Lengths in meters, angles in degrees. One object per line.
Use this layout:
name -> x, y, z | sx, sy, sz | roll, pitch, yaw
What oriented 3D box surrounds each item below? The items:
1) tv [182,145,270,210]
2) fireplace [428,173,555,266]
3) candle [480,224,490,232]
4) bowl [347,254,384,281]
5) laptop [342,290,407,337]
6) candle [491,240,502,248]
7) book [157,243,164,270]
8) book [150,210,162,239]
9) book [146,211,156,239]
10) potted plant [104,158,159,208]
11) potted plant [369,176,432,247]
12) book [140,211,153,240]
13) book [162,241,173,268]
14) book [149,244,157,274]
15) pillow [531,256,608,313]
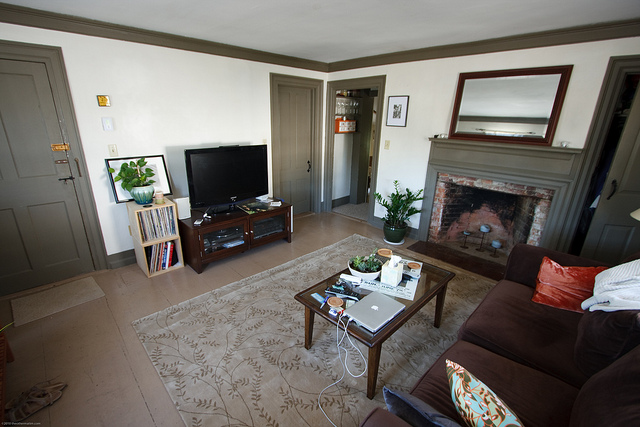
tv -> -1.267, -0.486, 5.023 | 0.832, 0.570, 0.222 | -15, 26, -38
fireplace -> 2.284, 0.056, 5.110 | 1.009, 0.923, 0.326 | 24, 32, 39
candle -> 2.285, 0.210, 5.317 | 0.159, 0.093, 0.122 | -14, 22, -41
bowl -> 0.440, 0.533, 3.955 | 0.276, 0.154, 0.272 | 3, 10, -1
laptop -> 0.514, 0.904, 3.569 | 0.388, 0.091, 0.505 | 20, 33, 35
candle -> 2.396, 0.412, 5.206 | 0.101, 0.051, 0.098 | -9, 19, -15
book -> -1.958, 0.526, 4.733 | 0.024, 0.342, 0.103 | 17, 24, 41
book -> -1.971, 0.123, 4.613 | 0.060, 0.251, 0.247 | -7, 5, -6
book -> -2.010, 0.124, 4.588 | 0.055, 0.229, 0.230 | -6, 2, -13
potted plant -> -2.201, -0.379, 4.597 | 0.558, 0.533, 0.413 | -8, 19, -26
potted plant -> 1.125, -0.047, 5.674 | 0.561, 0.930, 0.771 | -13, 21, -37
book -> -2.052, 0.144, 4.564 | 0.088, 0.346, 0.022 | -9, 20, -29
book -> -1.894, 0.492, 4.767 | 0.177, 0.271, 0.286 | 0, 16, -21
book -> -2.030, 0.532, 4.671 | 0.042, 0.368, 0.280 | -5, 21, -30
pillow -> 2.371, 0.681, 3.686 | 0.514, 0.402, 0.409 | 11, 19, 31
